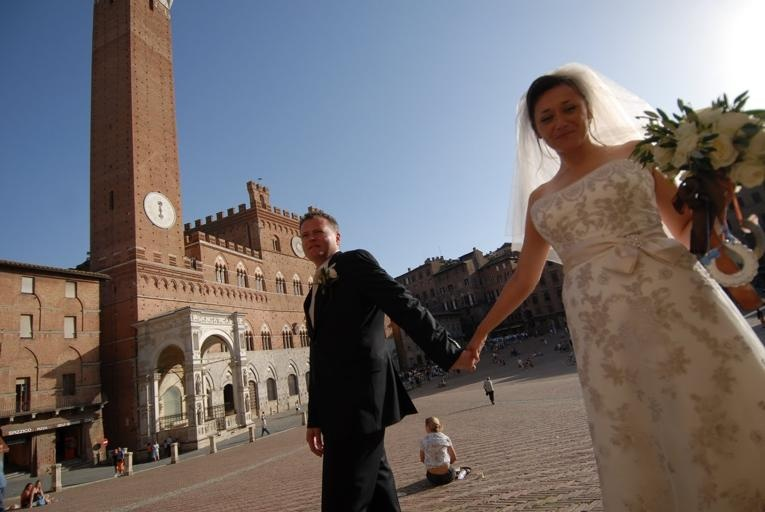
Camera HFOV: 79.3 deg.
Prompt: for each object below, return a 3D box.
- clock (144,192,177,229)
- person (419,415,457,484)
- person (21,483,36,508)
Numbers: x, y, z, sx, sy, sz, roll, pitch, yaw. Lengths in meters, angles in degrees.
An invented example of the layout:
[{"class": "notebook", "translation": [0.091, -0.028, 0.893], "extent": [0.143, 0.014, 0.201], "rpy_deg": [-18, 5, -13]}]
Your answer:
[{"class": "clock", "translation": [-13.956, -2.800, 28.582], "extent": [0.102, 2.113, 2.045], "rpy_deg": [-8, -13, 20]}, {"class": "person", "translation": [1.092, 3.138, 7.617], "extent": [0.616, 1.026, 0.946], "rpy_deg": [-3, -9, 12]}, {"class": "person", "translation": [-10.500, 6.932, 13.562], "extent": [0.318, 0.606, 1.010], "rpy_deg": [2, -21, -38]}]
